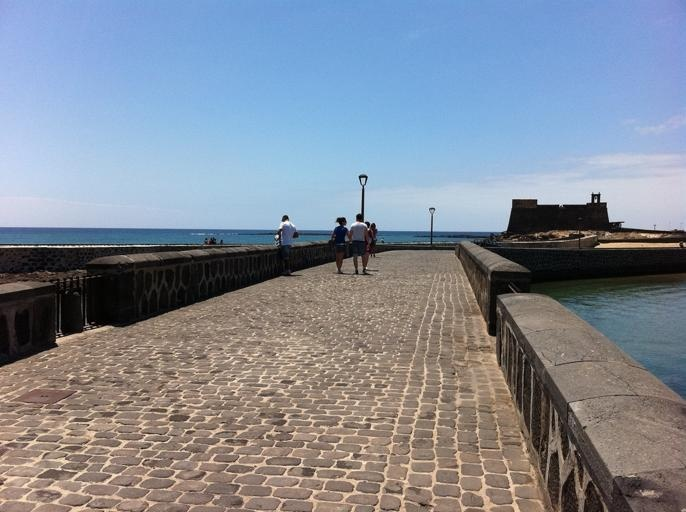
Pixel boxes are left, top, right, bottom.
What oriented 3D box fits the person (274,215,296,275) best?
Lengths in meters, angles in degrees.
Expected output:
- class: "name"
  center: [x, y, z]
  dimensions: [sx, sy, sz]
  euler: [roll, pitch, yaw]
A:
- class: "person"
  center: [-2.034, -0.346, 18.370]
  dimensions: [0.671, 2.080, 1.306]
  euler: [0, 5, -9]
